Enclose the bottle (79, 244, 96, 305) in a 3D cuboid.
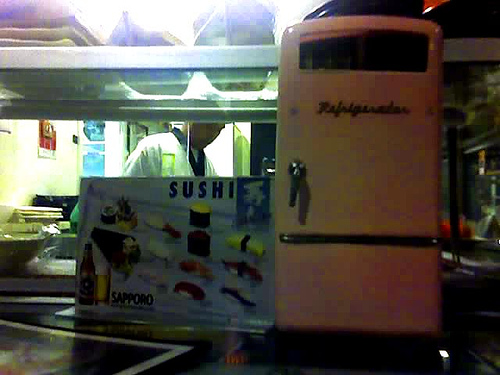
[{"bbox_3d":[-0.750,0.401,2.307,0.081,0.276,0.038,2,10,15],"label":"bottle"}]
